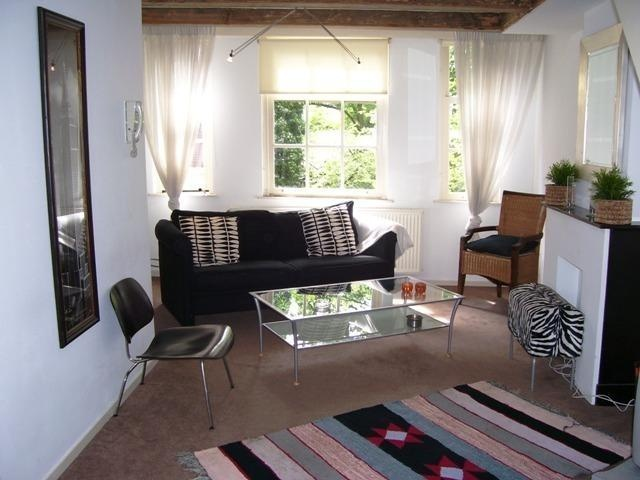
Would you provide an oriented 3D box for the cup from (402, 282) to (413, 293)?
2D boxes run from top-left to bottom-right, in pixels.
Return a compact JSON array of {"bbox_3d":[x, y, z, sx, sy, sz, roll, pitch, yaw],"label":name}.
[{"bbox_3d":[0.716,0.401,3.868,0.080,0.089,0.081,0,3,0],"label":"cup"}]

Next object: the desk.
[{"bbox_3d":[0.273,0.685,3.786,1.496,0.599,0.726,-4,14,-21],"label":"desk"}]

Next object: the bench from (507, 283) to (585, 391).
[{"bbox_3d":[1.640,0.707,3.361,0.318,0.480,0.662,-2,12,2],"label":"bench"}]

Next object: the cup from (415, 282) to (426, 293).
[{"bbox_3d":[0.833,0.394,3.861,0.077,0.073,0.078,-1,5,0],"label":"cup"}]

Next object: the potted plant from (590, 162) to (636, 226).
[{"bbox_3d":[1.954,-0.307,3.105,0.256,0.363,0.368,6,14,25],"label":"potted plant"}]

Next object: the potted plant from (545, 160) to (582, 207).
[{"bbox_3d":[2.013,-0.471,3.877,0.248,0.366,0.457,7,15,28],"label":"potted plant"}]

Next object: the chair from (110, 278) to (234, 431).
[{"bbox_3d":[-0.944,0.684,3.028,0.742,0.774,0.565,4,10,-5],"label":"chair"}]

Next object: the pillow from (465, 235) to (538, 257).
[{"bbox_3d":[1.935,0.030,4.989,0.511,0.207,0.617,-11,17,-42],"label":"pillow"}]
